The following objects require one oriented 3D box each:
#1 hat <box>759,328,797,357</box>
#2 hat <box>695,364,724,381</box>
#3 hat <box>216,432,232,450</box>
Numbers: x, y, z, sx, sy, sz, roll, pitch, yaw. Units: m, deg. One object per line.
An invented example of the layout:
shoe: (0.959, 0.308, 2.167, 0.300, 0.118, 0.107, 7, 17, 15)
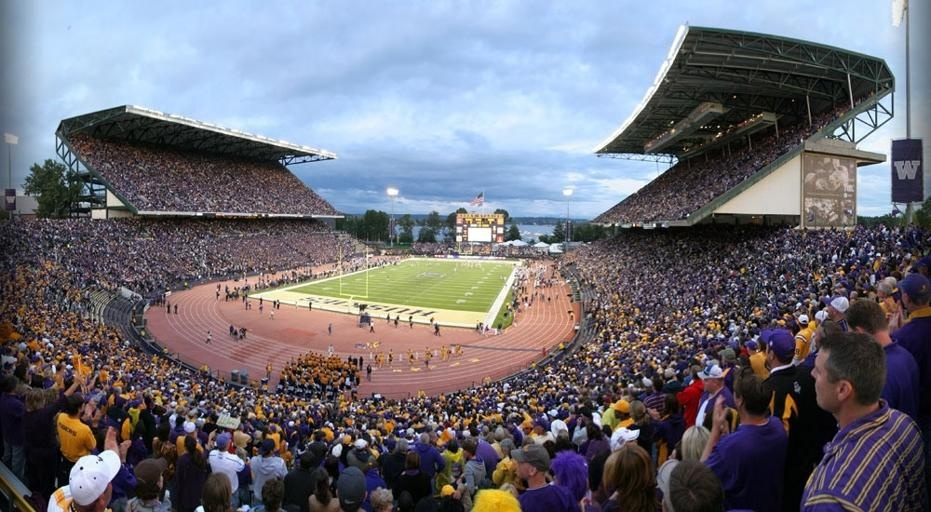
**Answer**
hat: (13.792, 3.784, 28.741, 1.257, 1.286, 0.756, 3, 0, 32)
hat: (10.864, 5.158, 29.003, 0.948, 0.483, 0.674, -2, -3, 43)
hat: (-10.991, 8.455, 29.748, 0.609, 0.788, 0.432, 3, -44, 10)
